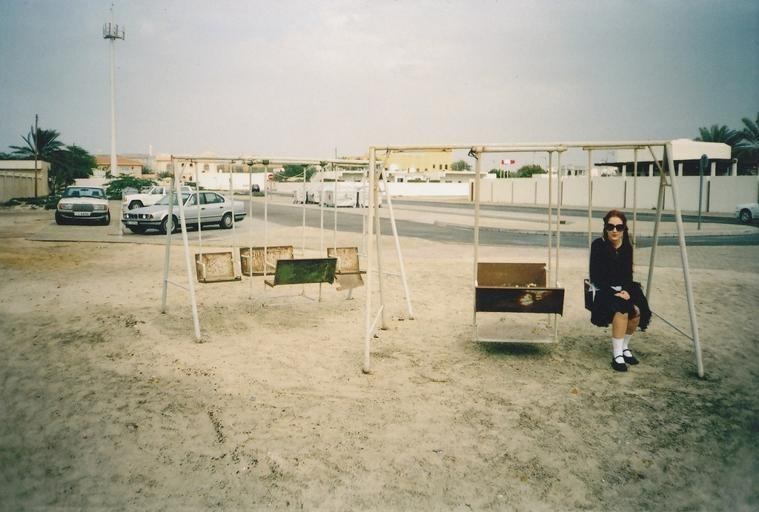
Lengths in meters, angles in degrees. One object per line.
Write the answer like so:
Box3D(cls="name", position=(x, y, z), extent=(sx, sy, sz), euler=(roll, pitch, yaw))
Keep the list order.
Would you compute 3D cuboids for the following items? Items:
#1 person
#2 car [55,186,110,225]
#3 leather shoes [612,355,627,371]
Box3D(cls="person", position=(3.260, 0.451, 8.312), extent=(0.801, 2.060, 0.738), euler=(3, 11, 19))
Box3D(cls="car", position=(-12.822, -2.196, 26.659), extent=(1.573, 1.139, 2.652), euler=(-1, 5, -18))
Box3D(cls="leather shoes", position=(3.259, 1.430, 8.220), extent=(0.207, 0.182, 0.221), euler=(1, 11, 8))
